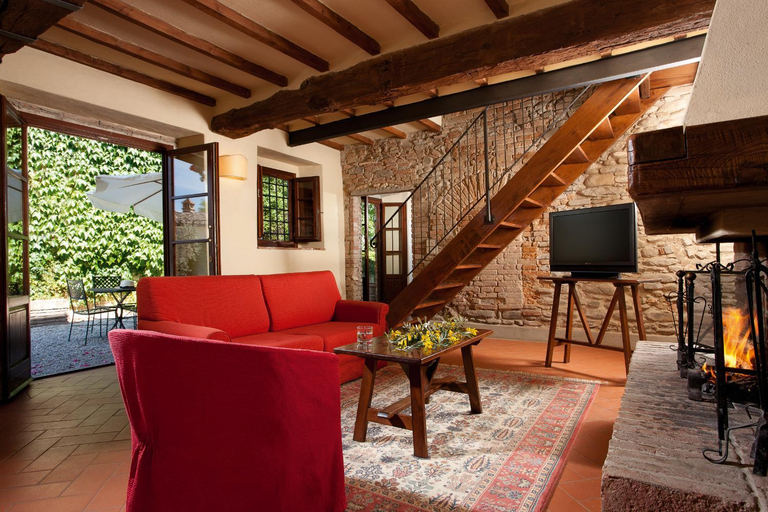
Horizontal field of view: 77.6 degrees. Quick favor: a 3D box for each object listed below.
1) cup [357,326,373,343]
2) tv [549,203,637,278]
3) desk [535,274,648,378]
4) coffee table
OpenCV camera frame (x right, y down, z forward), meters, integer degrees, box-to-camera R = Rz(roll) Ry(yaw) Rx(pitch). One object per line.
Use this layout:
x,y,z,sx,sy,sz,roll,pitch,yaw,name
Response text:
-0.154,0.631,3.883,0.168,0.141,0.148,0,-2,-3,cup
2.333,-0.162,5.340,1.065,0.699,0.208,-2,-1,38,tv
2.491,0.833,5.673,1.193,0.922,0.555,-4,-8,44,desk
0.245,0.750,3.839,0.840,0.655,1.585,-1,0,33,coffee table
